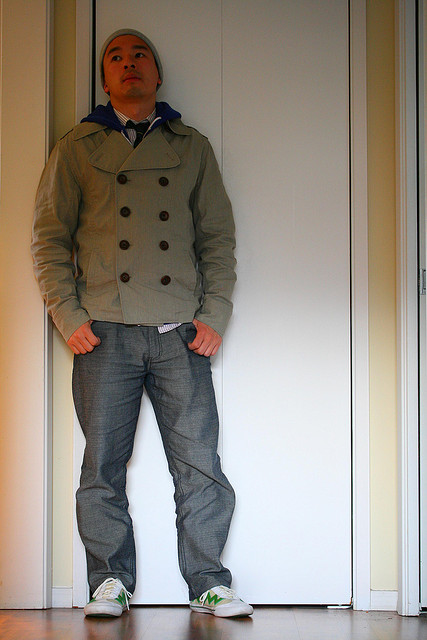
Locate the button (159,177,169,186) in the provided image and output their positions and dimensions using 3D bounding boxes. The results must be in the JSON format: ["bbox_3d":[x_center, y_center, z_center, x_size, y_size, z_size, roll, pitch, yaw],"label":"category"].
[{"bbox_3d":[-0.132,-0.371,1.717,0.024,0.022,0.009,3,-9,-22],"label":"button"}]

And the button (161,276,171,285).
[{"bbox_3d":[-0.122,-0.106,1.687,0.026,0.021,0.014,6,-10,-33],"label":"button"}]

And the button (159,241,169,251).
[{"bbox_3d":[-0.129,-0.199,1.696,0.022,0.022,0.012,1,-8,-5],"label":"button"}]

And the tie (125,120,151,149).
[{"bbox_3d":[-0.203,-0.522,1.765,0.058,0.086,0.030,3,-10,-2],"label":"tie"}]

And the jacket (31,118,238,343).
[{"bbox_3d":[-0.220,-0.230,1.730,0.557,0.668,0.243,1,-6,-9],"label":"jacket"}]

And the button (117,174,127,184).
[{"bbox_3d":[-0.240,-0.371,1.688,0.024,0.026,0.006,3,-4,-6],"label":"button"}]

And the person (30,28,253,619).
[{"bbox_3d":[-0.207,-0.014,1.756,0.568,1.553,0.264,2,-9,-16],"label":"person"}]

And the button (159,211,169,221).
[{"bbox_3d":[-0.131,-0.277,1.701,0.023,0.025,0.006,1,2,-2],"label":"button"}]

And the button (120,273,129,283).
[{"bbox_3d":[-0.230,-0.112,1.669,0.022,0.025,0.009,3,-9,-21],"label":"button"}]

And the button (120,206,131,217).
[{"bbox_3d":[-0.230,-0.285,1.680,0.025,0.027,0.009,1,-1,-7],"label":"button"}]

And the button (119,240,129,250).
[{"bbox_3d":[-0.232,-0.198,1.679,0.024,0.024,0.008,2,-9,-16],"label":"button"}]
